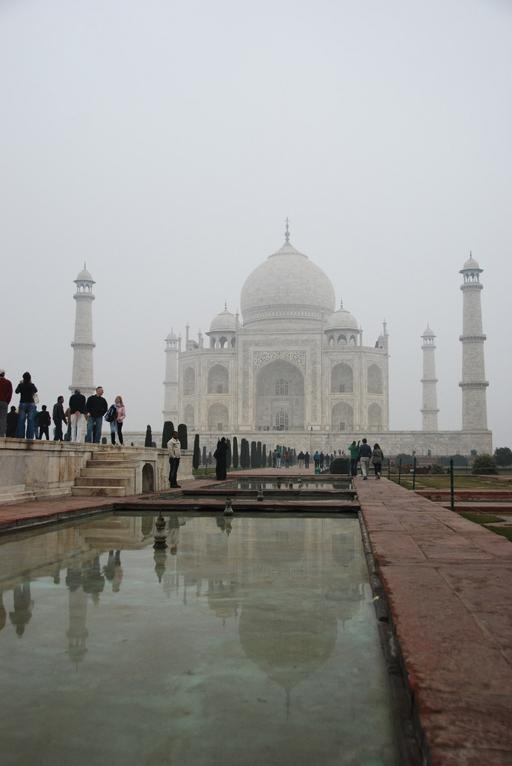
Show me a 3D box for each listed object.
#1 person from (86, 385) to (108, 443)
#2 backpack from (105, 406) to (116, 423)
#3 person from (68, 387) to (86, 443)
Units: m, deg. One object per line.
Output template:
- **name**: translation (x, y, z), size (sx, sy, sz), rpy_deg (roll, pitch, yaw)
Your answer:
- **person**: translation (-2.134, 0.426, 9.583), size (0.260, 0.849, 0.227), rpy_deg (7, 16, -16)
- **backpack**: translation (-1.898, 0.402, 9.459), size (0.150, 0.231, 0.639), rpy_deg (1, -5, -9)
- **person**: translation (-2.471, 0.437, 9.954), size (0.196, 0.769, 0.205), rpy_deg (1, -24, -9)
